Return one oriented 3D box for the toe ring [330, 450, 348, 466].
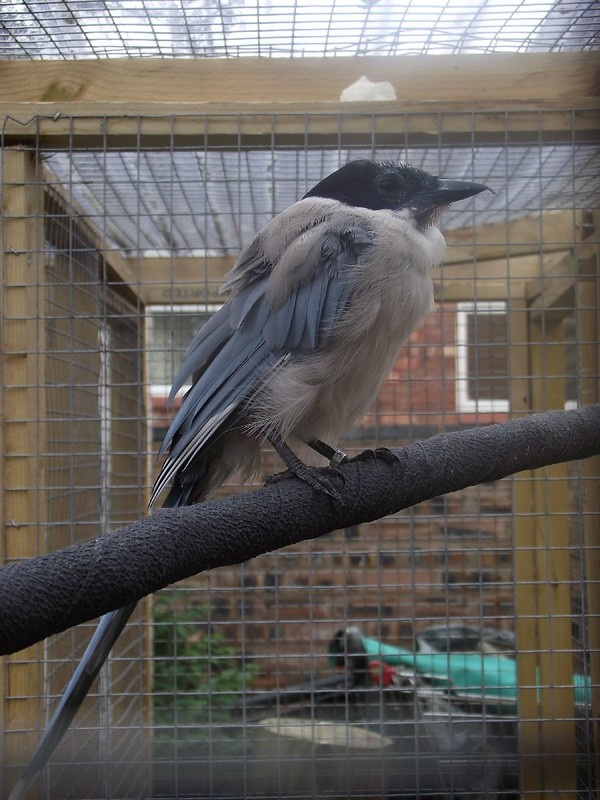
[{"bbox_3d":[0.115,0.185,5.144,0.036,0.018,0.048,14,40,8],"label":"toe ring"}]
